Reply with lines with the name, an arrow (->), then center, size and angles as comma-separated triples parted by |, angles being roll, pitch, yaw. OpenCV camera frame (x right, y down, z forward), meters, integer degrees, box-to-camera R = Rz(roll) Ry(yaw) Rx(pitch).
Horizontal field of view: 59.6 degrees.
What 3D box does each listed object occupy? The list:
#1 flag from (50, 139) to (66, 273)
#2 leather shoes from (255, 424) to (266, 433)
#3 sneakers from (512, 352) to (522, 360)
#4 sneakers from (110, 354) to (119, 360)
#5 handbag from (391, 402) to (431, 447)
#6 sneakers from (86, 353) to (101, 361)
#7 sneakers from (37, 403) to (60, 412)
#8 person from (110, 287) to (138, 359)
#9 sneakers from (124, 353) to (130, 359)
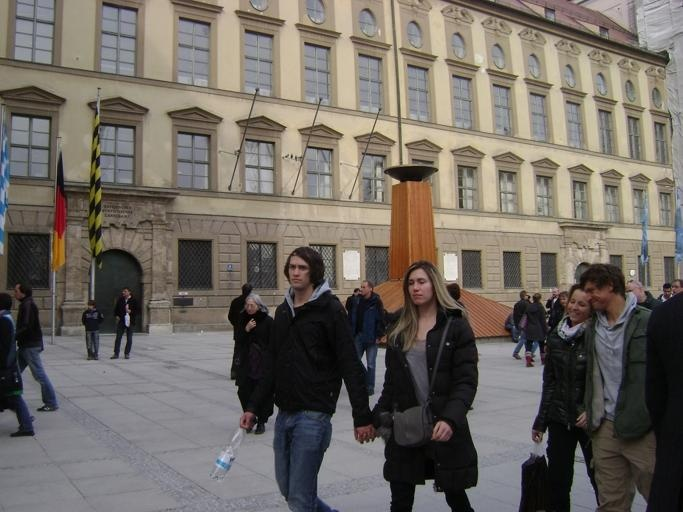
flag -> -10.214, -1.723, 21.547 | 0.372, 4.442, 2.023 | 1, -2, -26
leather shoes -> -1.190, 2.526, 8.739 | 0.100, 0.131, 0.299 | 0, -19, 2
sneakers -> 5.134, 2.915, 17.485 | 0.359, 0.270, 0.134 | 15, -5, -29
sneakers -> -6.437, 2.831, 16.816 | 0.237, 0.210, 0.112 | 6, -9, 2
handbag -> 0.550, 1.322, 4.649 | 0.269, 0.272, 0.112 | -20, -33, 39
sneakers -> -6.893, 2.802, 16.537 | 0.433, 0.192, 0.147 | -7, -8, 38
sneakers -> -4.917, 2.528, 9.970 | 0.335, 0.139, 0.117 | 3, -9, 0
person -> -6.297, 1.904, 17.277 | 0.684, 1.958, 1.163 | 1, -2, -21
sneakers -> -6.146, 2.849, 17.014 | 0.098, 0.132, 0.299 | 1, -15, -11
